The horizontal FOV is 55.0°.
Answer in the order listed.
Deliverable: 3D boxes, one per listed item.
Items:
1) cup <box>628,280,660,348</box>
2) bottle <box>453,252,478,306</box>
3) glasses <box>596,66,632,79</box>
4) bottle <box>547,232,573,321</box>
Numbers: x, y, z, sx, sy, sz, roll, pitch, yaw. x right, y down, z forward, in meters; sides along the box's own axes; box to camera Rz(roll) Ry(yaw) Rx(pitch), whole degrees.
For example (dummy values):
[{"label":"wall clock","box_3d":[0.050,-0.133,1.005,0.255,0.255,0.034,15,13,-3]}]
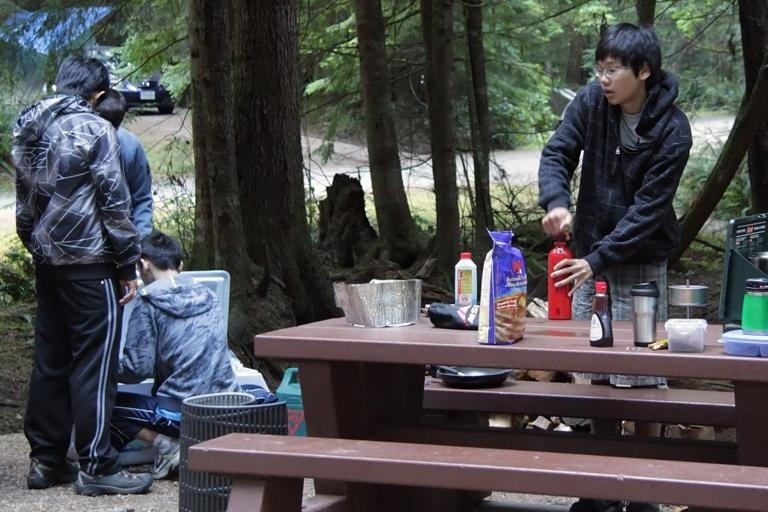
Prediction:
[{"label":"cup","box_3d":[1.338,0.299,3.780,0.128,0.310,0.215,0,7,19]},{"label":"bottle","box_3d":[0.478,0.131,4.284,0.121,0.304,0.240,-2,6,4]},{"label":"glasses","box_3d":[1.377,-1.134,4.533,0.083,0.075,0.221,-6,7,-28]},{"label":"bottle","box_3d":[1.023,0.138,4.300,0.129,0.481,0.281,-1,6,13]}]
